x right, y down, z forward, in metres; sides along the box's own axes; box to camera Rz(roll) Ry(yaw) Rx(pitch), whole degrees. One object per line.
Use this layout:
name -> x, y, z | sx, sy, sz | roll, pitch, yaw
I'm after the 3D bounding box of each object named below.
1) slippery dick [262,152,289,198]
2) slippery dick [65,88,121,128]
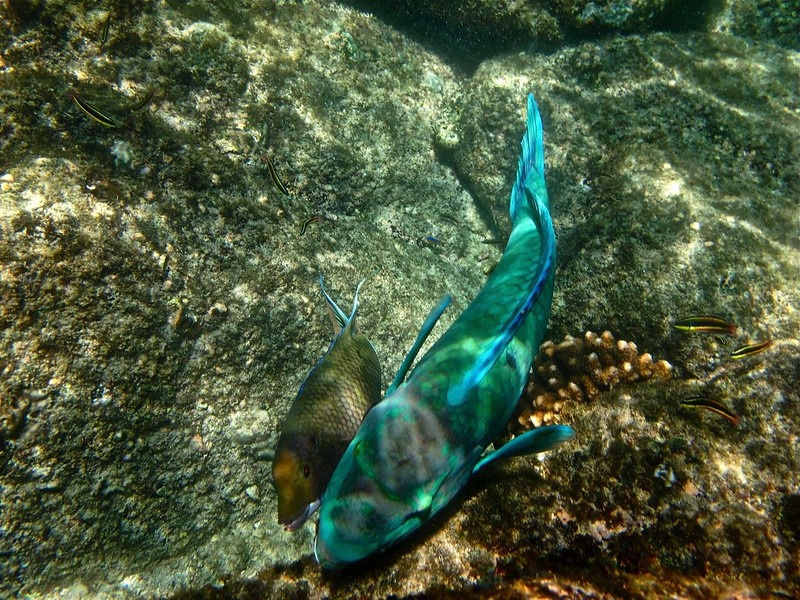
slippery dick -> -0.927, -0.918, 7.016 | 0.080, 0.445, 0.153 | 9, 37, 38
slippery dick -> -2.203, -1.365, 6.696 | 0.324, 0.124, 0.071 | 36, 14, 2
